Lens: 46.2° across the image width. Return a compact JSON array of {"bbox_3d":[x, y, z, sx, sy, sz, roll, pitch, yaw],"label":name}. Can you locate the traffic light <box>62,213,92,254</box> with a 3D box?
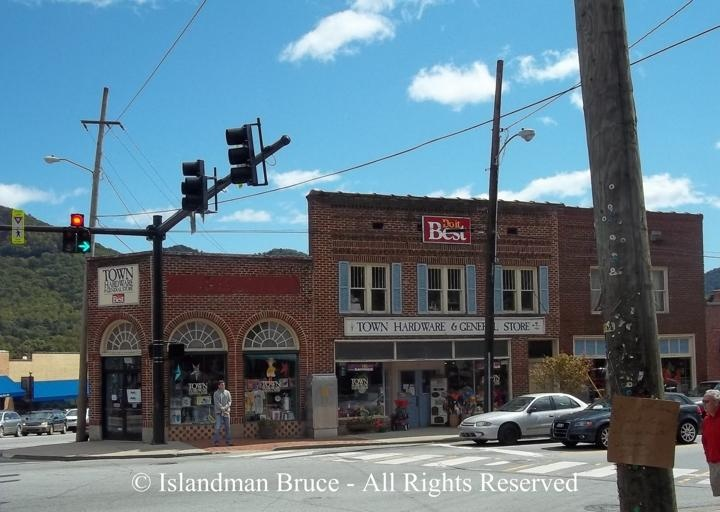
[{"bbox_3d":[-8.899,-0.642,26.383,0.826,1.357,0.781,-1,-14,-12],"label":"traffic light"}]

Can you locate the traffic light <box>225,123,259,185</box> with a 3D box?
[{"bbox_3d":[-2.864,-2.442,20.625,0.714,1.504,0.528,-8,5,-13],"label":"traffic light"}]

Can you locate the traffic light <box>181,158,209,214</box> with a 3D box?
[{"bbox_3d":[-4.276,-1.722,21.741,0.627,1.282,1.270,0,-12,-11],"label":"traffic light"}]
